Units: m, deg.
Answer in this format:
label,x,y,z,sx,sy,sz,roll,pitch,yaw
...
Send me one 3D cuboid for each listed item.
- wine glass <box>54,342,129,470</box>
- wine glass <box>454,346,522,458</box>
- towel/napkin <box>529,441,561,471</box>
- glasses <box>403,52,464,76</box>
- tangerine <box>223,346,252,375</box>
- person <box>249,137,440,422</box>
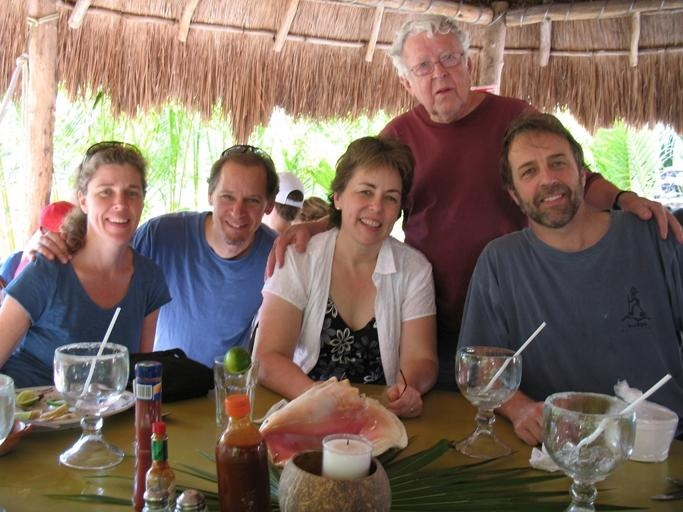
label,x,y,z,sx,sy,sz,roll,pitch,yaw
wine glass,-0.713,0.432,1.781,0.205,0.311,0.143,3,-5,-13
wine glass,0.445,0.447,1.970,0.194,0.310,0.255,1,-5,2
towel/napkin,0.581,0.576,1.815,0.093,0.039,0.098,-2,29,-1
glasses,0.455,-0.927,3.063,0.258,0.132,0.084,1,-5,8
tangerine,-0.270,0.268,1.646,0.085,0.084,0.080,-4,-21,-14
person,0.054,0.110,2.620,0.838,1.131,0.857,3,6,-29
